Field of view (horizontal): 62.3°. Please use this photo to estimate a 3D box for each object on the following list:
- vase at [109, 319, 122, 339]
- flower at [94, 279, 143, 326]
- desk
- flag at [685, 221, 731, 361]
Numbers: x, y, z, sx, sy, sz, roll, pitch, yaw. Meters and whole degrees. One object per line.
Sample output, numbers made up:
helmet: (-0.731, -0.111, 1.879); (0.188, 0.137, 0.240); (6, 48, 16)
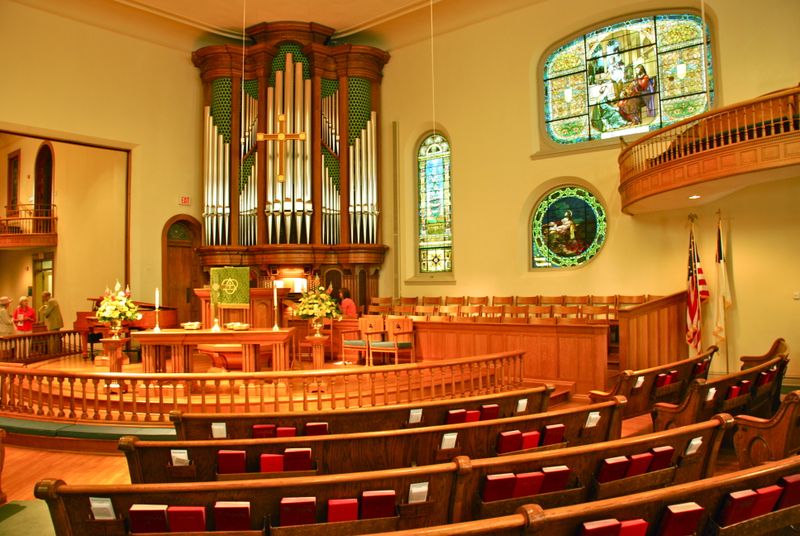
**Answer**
vase: (-4.639, 0.980, 10.774); (0.132, 0.318, 0.644); (-3, 3, -26)
flower: (-4.704, 0.632, 11.047); (0.998, 1.144, 0.856); (-1, 2, -20)
desk: (-2.947, 1.464, 10.777); (2.535, 0.749, 0.962); (-1, -7, 3)
flag: (5.975, 0.467, 12.860); (0.633, 3.339, 0.454); (2, 2, 34)
